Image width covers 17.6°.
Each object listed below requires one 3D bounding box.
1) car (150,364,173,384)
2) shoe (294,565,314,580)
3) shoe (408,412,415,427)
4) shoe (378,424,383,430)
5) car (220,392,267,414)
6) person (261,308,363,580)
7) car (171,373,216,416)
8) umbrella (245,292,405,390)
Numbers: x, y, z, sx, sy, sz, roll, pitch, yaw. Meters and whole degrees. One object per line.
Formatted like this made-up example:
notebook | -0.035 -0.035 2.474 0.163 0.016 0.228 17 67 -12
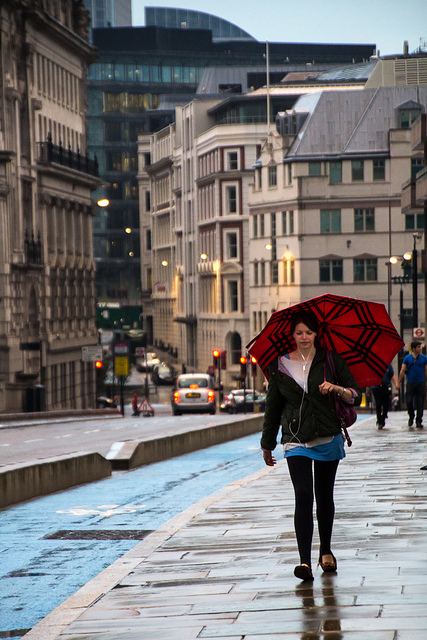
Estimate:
car | -3.147 3.326 84.061 0.830 0.979 2.025 0 -3 -8
shoe | 0.513 1.447 7.851 0.064 0.054 0.146 44 4 21
shoe | 3.455 1.743 24.177 0.079 0.293 0.112 4 -21 41
shoe | 2.959 1.898 24.472 0.067 0.080 0.020 -3 -1 8
car | 1.358 3.756 59.454 0.997 0.899 2.371 0 7 26
person | 0.578 0.714 8.086 0.587 1.441 0.491 -2 -1 3
car | -0.679 2.661 52.227 0.945 1.128 1.973 -1 7 2
umbrella | 0.709 0.127 8.425 0.951 0.551 0.604 -3 -1 1
